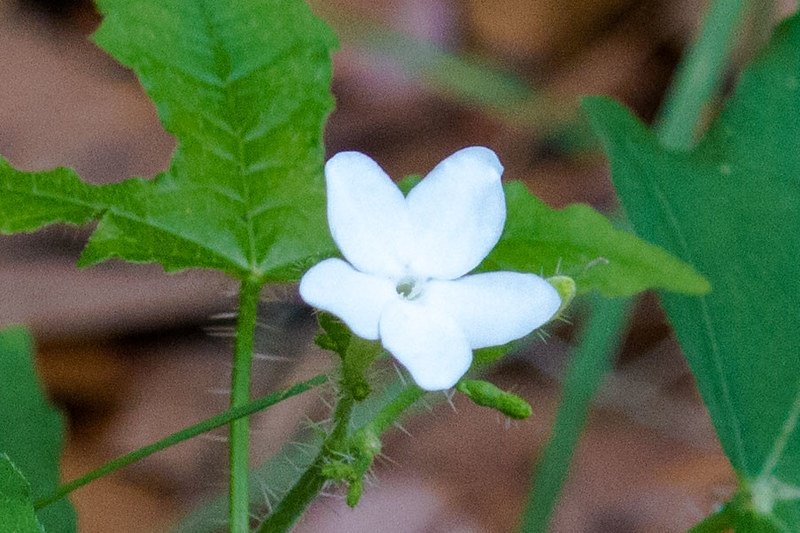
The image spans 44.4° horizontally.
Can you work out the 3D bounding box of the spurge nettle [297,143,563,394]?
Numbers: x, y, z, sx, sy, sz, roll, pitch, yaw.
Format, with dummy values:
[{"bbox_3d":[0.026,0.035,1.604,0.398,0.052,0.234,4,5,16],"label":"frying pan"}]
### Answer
[{"bbox_3d":[0.016,0.012,1.044,0.276,0.101,0.277,-8,12,-26],"label":"spurge nettle"}]
